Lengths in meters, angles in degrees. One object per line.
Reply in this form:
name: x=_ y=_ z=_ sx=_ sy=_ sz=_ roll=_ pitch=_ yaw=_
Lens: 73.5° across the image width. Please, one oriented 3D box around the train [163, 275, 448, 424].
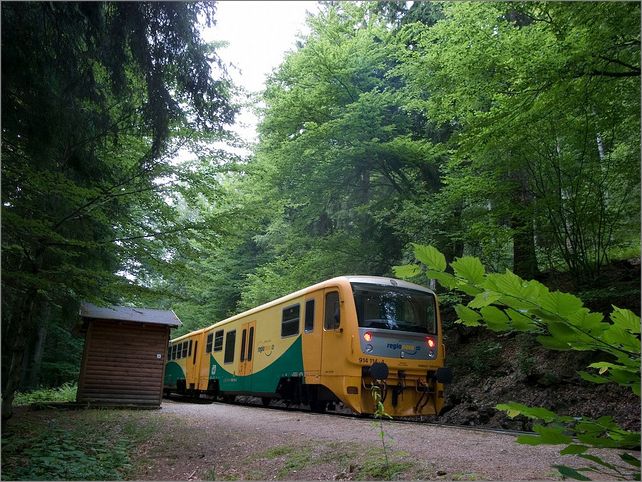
train: x=-1.429 y=4.254 z=15.351 sx=3.470 sy=3.130 sz=13.730 roll=9 pitch=-21 yaw=-29
